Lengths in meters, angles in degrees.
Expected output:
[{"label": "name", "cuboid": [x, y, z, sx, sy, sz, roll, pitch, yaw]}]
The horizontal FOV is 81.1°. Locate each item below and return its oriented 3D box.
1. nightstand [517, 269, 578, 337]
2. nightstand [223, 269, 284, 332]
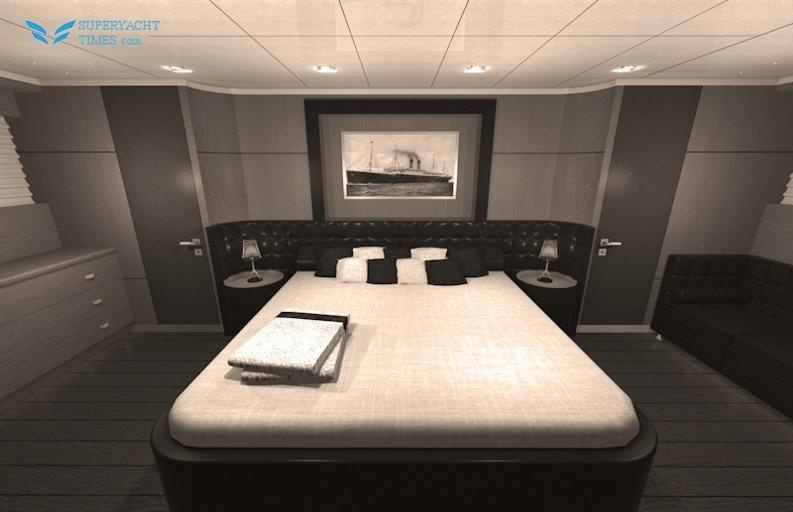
[{"label": "nightstand", "cuboid": [2.139, 0.701, 6.864, 1.031, 0.867, 0.887, -1, 15, 1]}, {"label": "nightstand", "cuboid": [-1.967, 0.651, 6.890, 0.952, 0.819, 0.846, 0, 10, 1]}]
